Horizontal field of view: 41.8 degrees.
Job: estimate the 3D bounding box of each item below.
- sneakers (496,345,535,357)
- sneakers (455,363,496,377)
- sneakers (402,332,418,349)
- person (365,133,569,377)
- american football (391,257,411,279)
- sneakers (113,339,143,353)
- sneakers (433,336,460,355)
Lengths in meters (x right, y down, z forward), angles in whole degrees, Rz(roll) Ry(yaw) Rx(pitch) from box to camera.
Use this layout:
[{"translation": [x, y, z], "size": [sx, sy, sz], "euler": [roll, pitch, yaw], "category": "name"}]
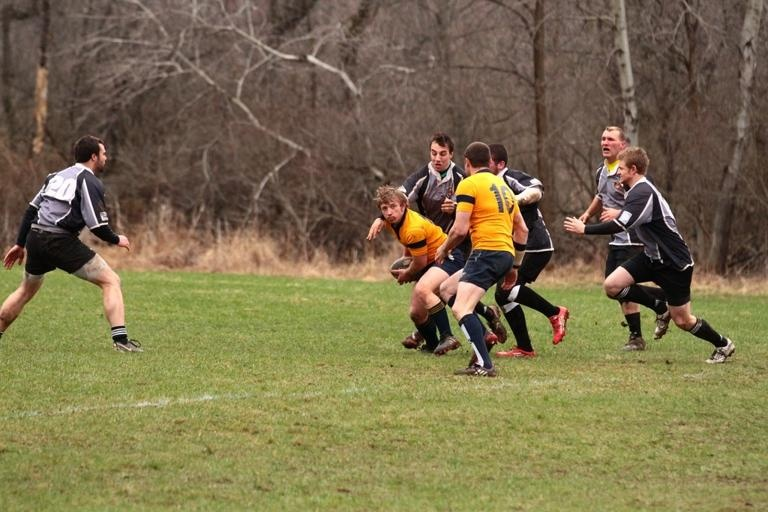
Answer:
[{"translation": [1.821, 1.359, 14.003], "size": [0.527, 0.206, 0.189], "euler": [4, -8, 1], "category": "sneakers"}, {"translation": [1.178, 1.470, 12.841], "size": [0.515, 0.203, 0.190], "euler": [5, -1, 9], "category": "sneakers"}, {"translation": [0.362, 1.197, 14.281], "size": [0.254, 0.192, 0.119], "euler": [16, 2, -31], "category": "sneakers"}, {"translation": [1.261, 0.017, 12.890], "size": [0.890, 2.847, 1.064], "euler": [11, 17, 34], "category": "person"}, {"translation": [0.236, 0.164, 14.157], "size": [0.319, 0.192, 0.220], "euler": [-28, 11, -30], "category": "american football"}, {"translation": [-3.393, 1.206, 13.421], "size": [0.429, 0.189, 0.153], "euler": [2, 3, -9], "category": "sneakers"}, {"translation": [0.886, 1.243, 13.956], "size": [0.353, 0.191, 0.196], "euler": [-33, 4, 14], "category": "sneakers"}]
